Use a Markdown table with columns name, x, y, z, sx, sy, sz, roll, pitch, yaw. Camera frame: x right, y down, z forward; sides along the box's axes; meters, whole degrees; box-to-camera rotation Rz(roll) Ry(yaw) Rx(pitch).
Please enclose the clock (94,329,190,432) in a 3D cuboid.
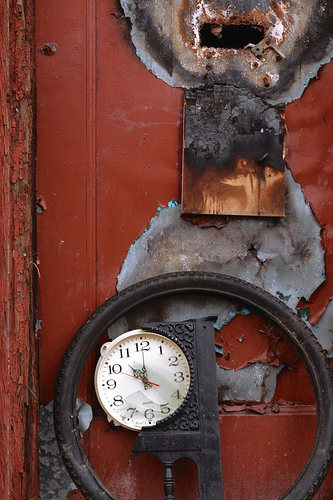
| name | x | y | z | sx | sy | sz | roll | pitch | yaw |
| --- | --- | --- | --- | --- | --- | --- | --- | --- | --- |
| clock | -0.067 | 0.415 | 3.033 | 0.279 | 0.334 | 0.024 | 0 | -15 | 1 |
